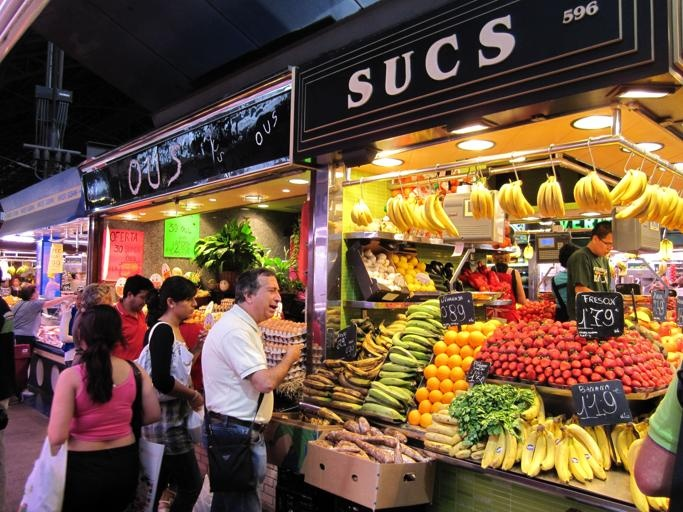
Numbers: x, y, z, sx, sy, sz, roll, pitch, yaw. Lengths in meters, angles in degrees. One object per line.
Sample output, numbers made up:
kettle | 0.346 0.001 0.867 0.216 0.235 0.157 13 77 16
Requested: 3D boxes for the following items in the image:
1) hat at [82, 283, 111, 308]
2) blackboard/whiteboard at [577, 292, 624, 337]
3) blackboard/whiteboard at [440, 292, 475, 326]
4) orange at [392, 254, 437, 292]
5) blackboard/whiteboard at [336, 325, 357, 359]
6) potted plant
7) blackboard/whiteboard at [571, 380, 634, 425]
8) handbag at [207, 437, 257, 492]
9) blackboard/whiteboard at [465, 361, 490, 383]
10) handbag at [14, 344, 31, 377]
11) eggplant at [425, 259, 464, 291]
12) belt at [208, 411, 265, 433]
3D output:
hat | -2.242 0.369 4.326 0.213 0.227 0.172 -6 12 -43
blackboard/whiteboard | 1.746 0.393 3.176 0.279 0.304 0.030 0 -1 14
blackboard/whiteboard | 0.898 0.415 3.673 0.249 0.269 0.019 -3 -2 25
orange | 0.742 0.193 4.968 0.335 0.473 0.142 2 -43 -45
blackboard/whiteboard | 0.046 0.748 4.060 0.033 0.323 0.308 10 -13 -36
potted plant | -1.280 0.460 7.453 1.657 1.289 1.501 -6 -13 30
blackboard/whiteboard | 1.632 0.905 2.955 0.285 0.258 0.040 -2 -20 -1
handbag | -0.714 1.340 3.058 0.322 0.381 0.152 -4 -5 -1
blackboard/whiteboard | 0.982 0.833 3.401 0.017 0.160 0.118 2 27 -42
handbag | -5.020 1.626 7.452 0.230 0.467 0.240 4 -6 -40
eggplant | 1.131 0.220 5.387 0.338 0.366 0.148 0 4 21
belt | -0.726 1.122 3.173 0.405 0.156 0.165 0 -5 -4
